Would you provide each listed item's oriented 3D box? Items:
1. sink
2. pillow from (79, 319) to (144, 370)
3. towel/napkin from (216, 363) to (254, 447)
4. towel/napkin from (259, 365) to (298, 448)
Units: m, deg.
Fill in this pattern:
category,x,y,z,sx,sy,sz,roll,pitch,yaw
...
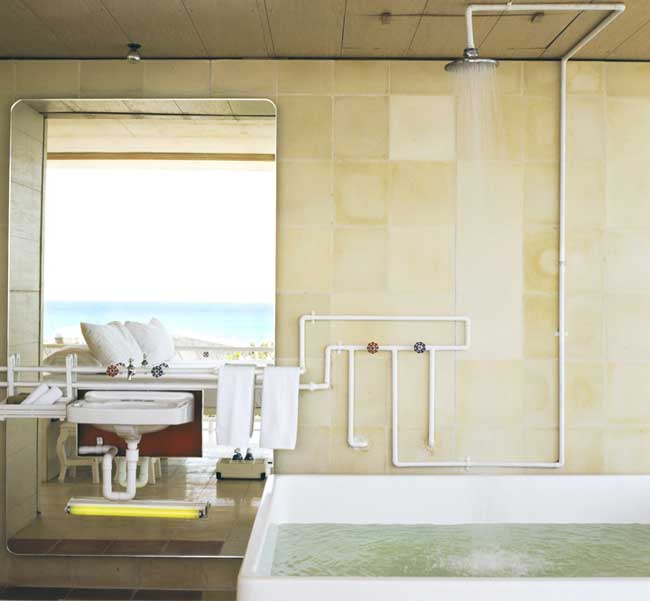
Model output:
category,x,y,z,sx,sy,sz,roll,pitch,yaw
sink,-0.984,0.601,4.595,0.631,0.244,0.308,0,6,-8
pillow,-1.114,0.227,4.726,0.082,0.248,0.277,-30,-14,36
towel/napkin,-0.453,0.541,4.621,0.196,0.395,0.110,0,6,-4
towel/napkin,-0.232,0.554,4.661,0.197,0.428,0.173,0,6,-4
